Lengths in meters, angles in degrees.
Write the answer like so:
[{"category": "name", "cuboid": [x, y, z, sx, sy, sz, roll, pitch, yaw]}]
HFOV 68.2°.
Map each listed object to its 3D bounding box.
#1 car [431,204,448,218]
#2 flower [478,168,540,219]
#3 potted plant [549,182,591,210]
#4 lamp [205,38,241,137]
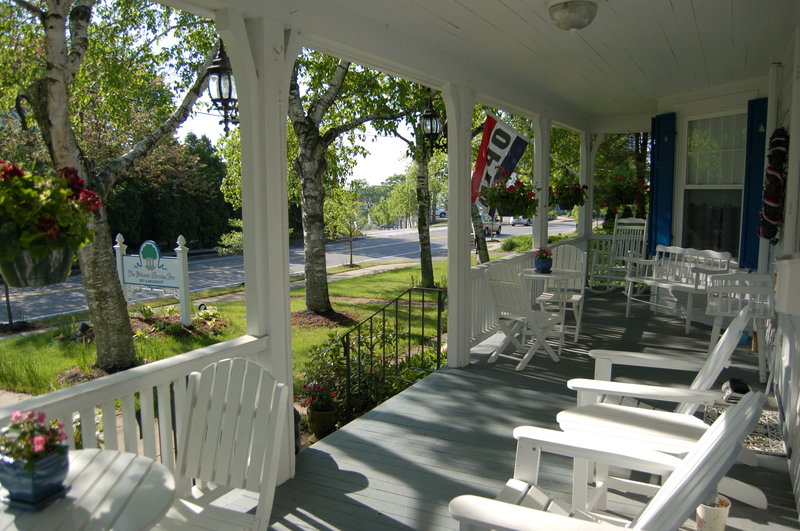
[{"category": "car", "cuboid": [3.991, -5.493, 60.225, 1.058, 1.276, 4.203, -2, 6, 0]}, {"category": "flower", "cuboid": [1.460, -0.974, 8.000, 0.576, 0.435, 0.607, 1, 13, 11]}, {"category": "potted plant", "cuboid": [2.871, -1.177, 9.985, 0.531, 0.395, 0.525, -7, 10, -36]}, {"category": "lamp", "cuboid": [-1.452, -1.439, 4.792, 0.222, 0.752, 0.647, -4, 7, -17]}]
